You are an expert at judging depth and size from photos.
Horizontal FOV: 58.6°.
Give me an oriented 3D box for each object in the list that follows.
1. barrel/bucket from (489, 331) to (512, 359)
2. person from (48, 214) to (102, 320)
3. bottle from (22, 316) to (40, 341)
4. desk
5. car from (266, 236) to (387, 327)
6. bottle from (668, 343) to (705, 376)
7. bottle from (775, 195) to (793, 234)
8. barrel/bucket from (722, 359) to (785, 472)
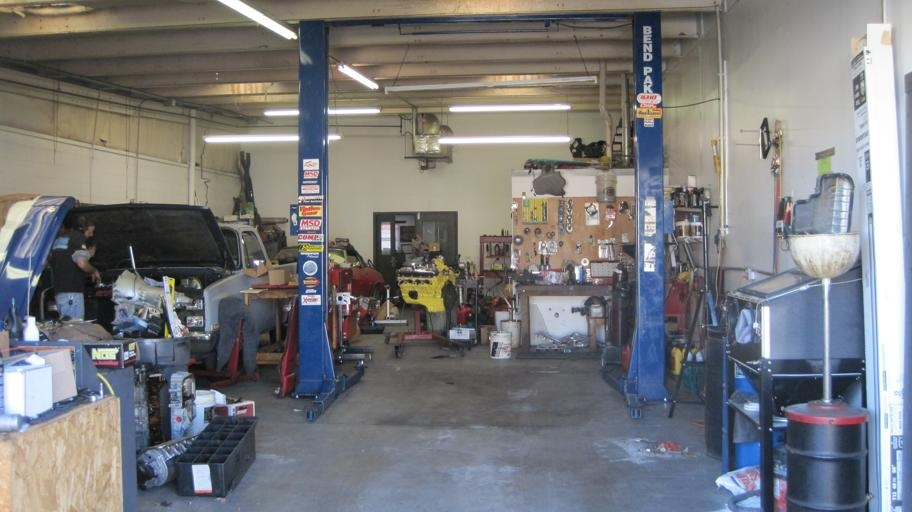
[{"bbox_3d":[0.731,1.449,13.233,0.411,0.376,0.387,0,-1,0],"label":"barrel/bucket"},{"bbox_3d":[-4.959,0.167,10.539,0.560,1.399,0.821,-3,0,-26],"label":"person"},{"bbox_3d":[-4.349,0.734,8.276,0.144,0.265,0.335,-3,0,-28],"label":"bottle"},{"bbox_3d":[1.764,1.045,13.535,1.364,0.834,1.264,0,-3,4],"label":"desk"},{"bbox_3d":[-2.537,0.374,16.453,2.753,1.236,1.246,-4,9,-12],"label":"car"},{"bbox_3d":[3.226,1.436,11.290,0.342,0.346,0.612,4,-4,3],"label":"bottle"},{"bbox_3d":[3.624,-0.452,8.924,0.166,0.397,1.038,-3,0,22],"label":"bottle"},{"bbox_3d":[3.236,1.726,8.754,0.535,1.289,1.380,0,-1,13],"label":"barrel/bucket"}]
